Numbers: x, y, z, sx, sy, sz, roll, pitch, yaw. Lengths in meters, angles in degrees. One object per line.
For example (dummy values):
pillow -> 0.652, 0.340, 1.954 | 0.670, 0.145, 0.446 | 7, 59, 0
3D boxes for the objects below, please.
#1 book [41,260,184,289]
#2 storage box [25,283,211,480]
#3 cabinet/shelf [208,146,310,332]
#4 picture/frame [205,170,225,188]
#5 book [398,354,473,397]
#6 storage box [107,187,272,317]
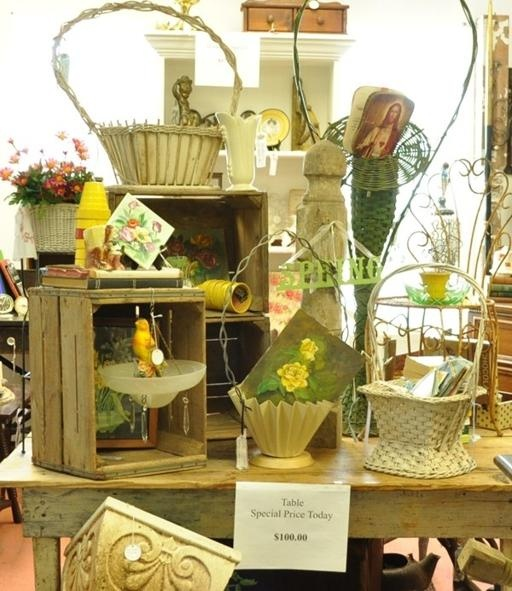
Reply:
book -> -0.306, -0.037, 1.265 | 0.304, 0.057, 0.169 | 0, 12, -9
storage box -> -0.277, 0.161, 1.492 | 0.426, 0.496, 0.403 | 2, 2, 39
cabinet/shelf -> -0.089, -0.434, 3.627 | 0.525, 0.809, 0.512 | 13, 25, 0
picture/frame -> -0.214, -0.647, 3.345 | 0.071, 0.083, 0.138 | 1, 12, -3
book -> 0.387, 0.181, 1.325 | 0.112, 0.037, 0.110 | -9, 12, 40
storage box -> -0.172, -0.106, 1.511 | 0.404, 0.328, 0.152 | 1, 1, -13
